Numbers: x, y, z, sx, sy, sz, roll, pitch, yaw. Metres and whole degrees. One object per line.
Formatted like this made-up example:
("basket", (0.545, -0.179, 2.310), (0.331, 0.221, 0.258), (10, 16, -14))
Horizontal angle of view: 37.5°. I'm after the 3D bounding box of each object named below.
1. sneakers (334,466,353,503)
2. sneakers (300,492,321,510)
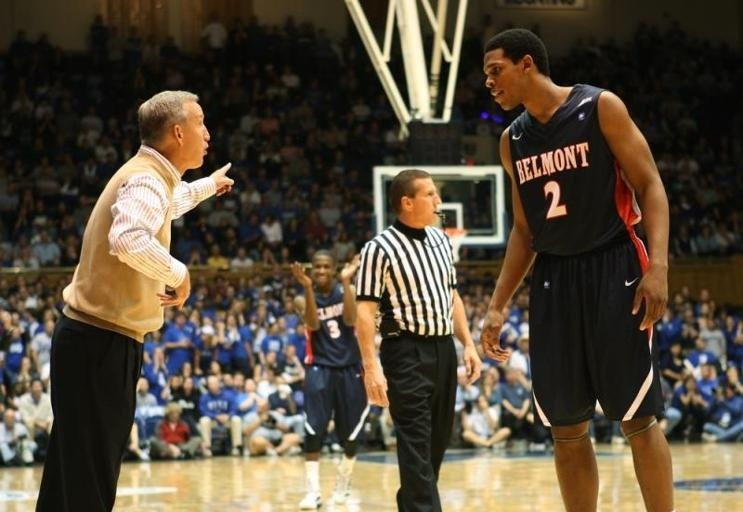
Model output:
("sneakers", (-0.377, 2.901, 13.836), (0.160, 0.493, 0.206), (0, -2, -1))
("sneakers", (-0.728, 3.026, 13.604), (0.207, 0.190, 0.427), (-4, -5, 35))
